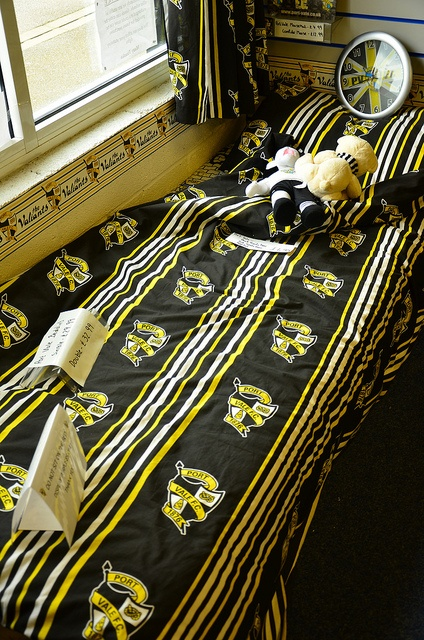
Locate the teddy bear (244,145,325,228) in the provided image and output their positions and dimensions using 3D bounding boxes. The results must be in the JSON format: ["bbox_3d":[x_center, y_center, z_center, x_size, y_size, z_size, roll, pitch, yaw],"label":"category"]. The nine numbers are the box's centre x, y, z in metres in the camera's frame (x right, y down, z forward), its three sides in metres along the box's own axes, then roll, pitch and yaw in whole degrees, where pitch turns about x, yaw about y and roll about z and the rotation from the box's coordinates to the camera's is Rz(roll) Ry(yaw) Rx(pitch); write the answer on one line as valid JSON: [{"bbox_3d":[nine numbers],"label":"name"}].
[{"bbox_3d":[0.270,-0.474,1.697,0.293,0.112,0.462,3,42,-3],"label":"teddy bear"}]
